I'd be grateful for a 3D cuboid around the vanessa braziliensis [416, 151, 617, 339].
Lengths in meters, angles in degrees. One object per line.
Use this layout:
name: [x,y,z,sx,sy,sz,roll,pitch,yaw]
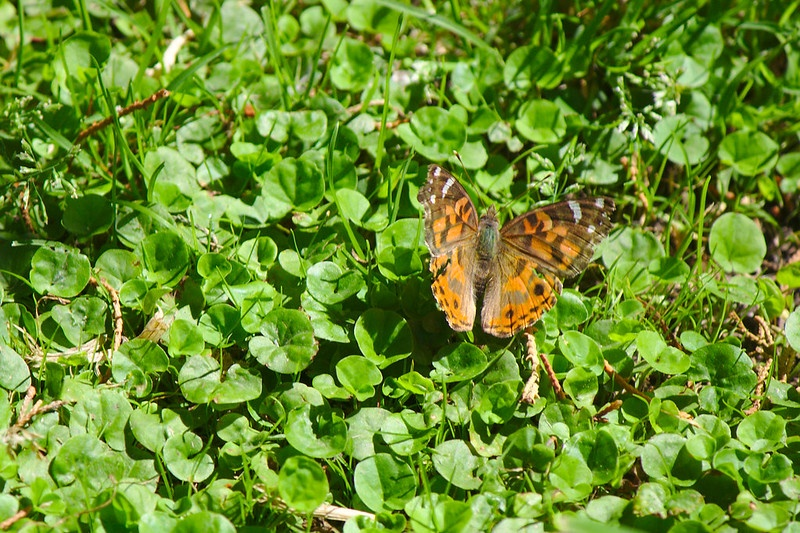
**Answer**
vanessa braziliensis: [0.506,-0.024,3.495,0.915,0.246,0.747,9,79,1]
